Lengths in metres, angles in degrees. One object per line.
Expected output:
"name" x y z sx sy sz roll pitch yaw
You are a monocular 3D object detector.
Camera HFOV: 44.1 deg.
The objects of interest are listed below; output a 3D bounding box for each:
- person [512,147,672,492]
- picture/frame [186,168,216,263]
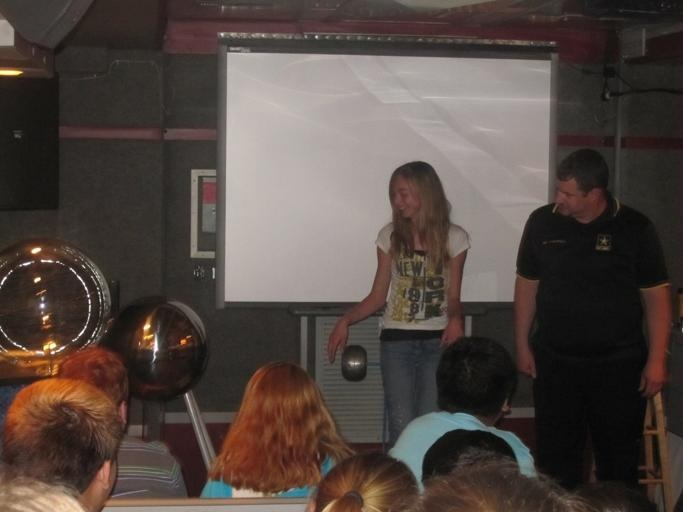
"person" 1.435 0.453 4.875 0.753 2.276 0.511 1 25 20
"picture/frame" -0.931 -0.293 5.819 0.241 0.591 0.057 -1 4 -32
